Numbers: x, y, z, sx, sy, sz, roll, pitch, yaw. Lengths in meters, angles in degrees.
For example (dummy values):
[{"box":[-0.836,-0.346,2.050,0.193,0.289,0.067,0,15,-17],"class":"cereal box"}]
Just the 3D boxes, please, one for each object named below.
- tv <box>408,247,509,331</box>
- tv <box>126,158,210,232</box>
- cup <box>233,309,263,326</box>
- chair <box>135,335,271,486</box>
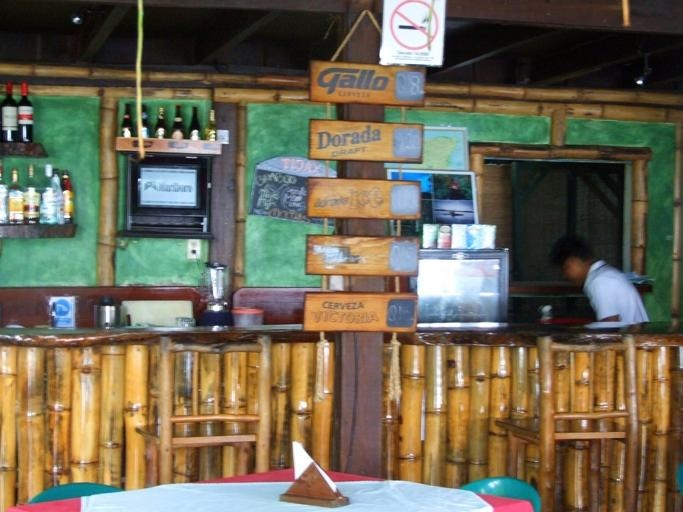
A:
[{"box":[0.920,0.228,13.920,0.675,0.551,0.192,0,0,-6],"class":"tv"},{"box":[-1.384,-0.489,14.665,0.825,0.543,0.190,3,2,-9],"class":"tv"},{"box":[-0.723,0.498,14.451,0.193,0.105,0.170,2,-6,-14],"class":"cup"},{"box":[-0.965,1.051,12.561,0.970,1.016,0.456,0,0,-4],"class":"chair"}]
